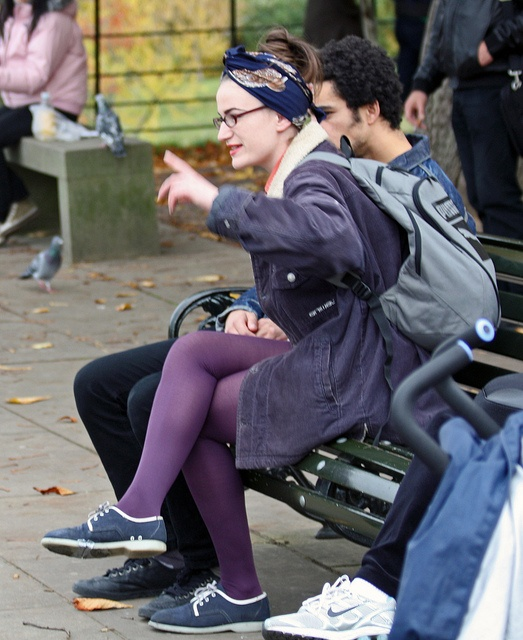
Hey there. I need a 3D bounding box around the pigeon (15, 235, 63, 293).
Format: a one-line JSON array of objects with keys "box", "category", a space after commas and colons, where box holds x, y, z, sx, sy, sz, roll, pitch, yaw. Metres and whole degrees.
[{"box": [-0.697, -0.185, 3.050, 0.164, 0.185, 0.091, 21, 22, 30], "category": "pigeon"}]

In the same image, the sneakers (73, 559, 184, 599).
[{"box": [-0.366, 0.718, 2.730, 0.327, 0.122, 0.108, 3, 3, -14], "category": "sneakers"}]

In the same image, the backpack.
[{"box": [0.328, -0.060, 2.376, 0.522, 0.652, 0.337, 8, 11, 1], "category": "backpack"}]

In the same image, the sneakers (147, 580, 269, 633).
[{"box": [-0.117, 0.747, 2.514, 0.359, 0.141, 0.116, 2, -9, -3], "category": "sneakers"}]

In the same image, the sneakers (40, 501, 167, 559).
[{"box": [-0.421, 0.507, 2.385, 0.365, 0.156, 0.120, 1, -33, 11], "category": "sneakers"}]
